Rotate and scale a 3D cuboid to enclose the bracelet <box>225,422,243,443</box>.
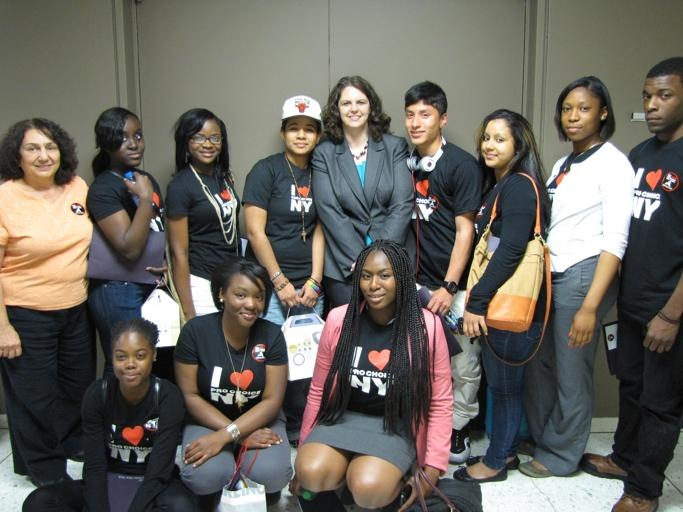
[{"bbox_3d":[-0.524,0.861,2.637,0.061,0.091,0.082,-25,5,2],"label":"bracelet"}]

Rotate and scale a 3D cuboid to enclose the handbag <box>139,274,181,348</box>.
[{"bbox_3d":[-0.981,0.315,2.970,0.190,0.369,0.272,-1,-8,-15],"label":"handbag"}]

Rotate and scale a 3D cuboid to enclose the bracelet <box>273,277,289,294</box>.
[{"bbox_3d":[-0.349,0.177,3.120,0.075,0.028,0.064,-45,9,-17],"label":"bracelet"}]

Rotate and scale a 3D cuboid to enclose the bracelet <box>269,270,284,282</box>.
[{"bbox_3d":[-0.385,0.122,3.111,0.056,0.056,0.016,-16,-44,40],"label":"bracelet"}]

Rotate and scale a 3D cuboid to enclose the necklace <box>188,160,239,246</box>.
[{"bbox_3d":[-0.750,-0.286,3.162,0.082,0.455,0.243,-25,-16,34],"label":"necklace"}]

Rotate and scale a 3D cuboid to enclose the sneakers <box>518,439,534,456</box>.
[{"bbox_3d":[1.104,1.148,3.223,0.127,0.059,0.044,1,-1,-19],"label":"sneakers"}]

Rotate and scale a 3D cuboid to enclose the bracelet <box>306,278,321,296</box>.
[{"bbox_3d":[-0.153,0.185,3.179,0.041,0.088,0.073,-42,47,-5],"label":"bracelet"}]

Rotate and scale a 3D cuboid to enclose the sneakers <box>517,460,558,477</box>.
[{"bbox_3d":[1.077,1.187,3.005,0.142,0.043,0.084,0,34,4],"label":"sneakers"}]

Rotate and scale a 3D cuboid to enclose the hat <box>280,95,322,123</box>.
[{"bbox_3d":[-0.232,-0.831,3.154,0.196,0.158,0.331,2,9,-3],"label":"hat"}]

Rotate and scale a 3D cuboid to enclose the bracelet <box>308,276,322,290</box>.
[{"bbox_3d":[-0.151,0.176,3.184,0.072,0.037,0.062,36,13,-10],"label":"bracelet"}]

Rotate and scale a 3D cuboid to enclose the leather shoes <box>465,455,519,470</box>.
[{"bbox_3d":[0.861,1.179,3.078,0.274,0.084,0.113,2,8,4],"label":"leather shoes"}]

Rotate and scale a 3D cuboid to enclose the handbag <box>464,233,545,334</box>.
[{"bbox_3d":[0.838,0.148,2.723,0.185,0.460,0.341,24,4,-30],"label":"handbag"}]

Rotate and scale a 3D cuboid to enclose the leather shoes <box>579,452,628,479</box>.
[{"bbox_3d":[1.473,1.167,3.026,0.205,0.090,0.099,15,10,14],"label":"leather shoes"}]

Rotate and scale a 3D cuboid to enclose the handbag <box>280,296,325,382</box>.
[{"bbox_3d":[-0.218,0.451,3.093,0.255,0.443,0.147,-4,-13,-23],"label":"handbag"}]

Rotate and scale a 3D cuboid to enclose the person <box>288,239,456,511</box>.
[{"bbox_3d":[0.162,0.559,2.536,0.726,1.162,0.598,5,18,11],"label":"person"}]

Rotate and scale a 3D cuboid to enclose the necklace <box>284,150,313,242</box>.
[{"bbox_3d":[-0.243,-0.347,3.228,0.132,0.544,0.041,-4,0,1],"label":"necklace"}]

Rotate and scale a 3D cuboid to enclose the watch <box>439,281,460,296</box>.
[{"bbox_3d":[0.611,0.177,3.050,0.095,0.066,0.083,34,-26,-25],"label":"watch"}]
